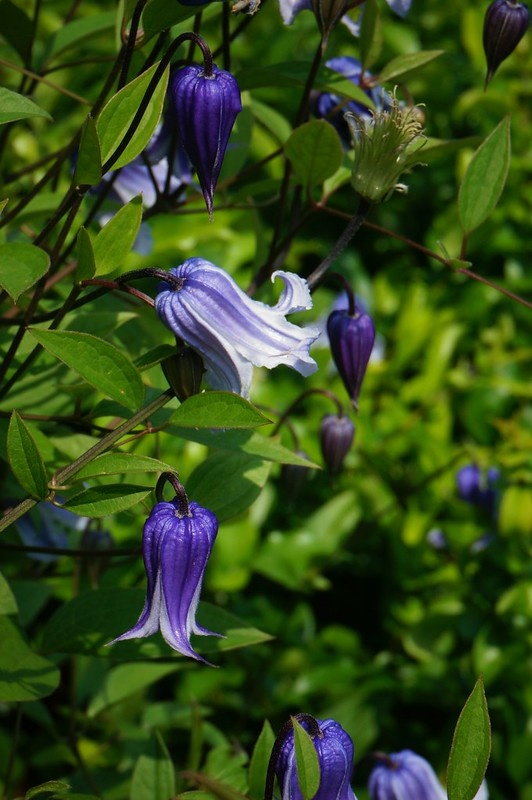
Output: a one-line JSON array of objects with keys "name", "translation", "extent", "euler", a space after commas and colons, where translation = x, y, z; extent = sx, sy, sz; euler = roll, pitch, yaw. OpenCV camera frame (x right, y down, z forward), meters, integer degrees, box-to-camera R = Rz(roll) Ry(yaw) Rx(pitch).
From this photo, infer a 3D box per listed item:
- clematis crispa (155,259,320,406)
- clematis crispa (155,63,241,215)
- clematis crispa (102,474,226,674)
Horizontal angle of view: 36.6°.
[{"name": "clematis crispa", "translation": [-0.031, -0.073, 0.784], "extent": [0.143, 0.136, 0.063], "euler": [27, -1, -17]}, {"name": "clematis crispa", "translation": [-0.055, -0.256, 0.796], "extent": [0.074, 0.145, 0.061], "euler": [2, -6, -29]}, {"name": "clematis crispa", "translation": [-0.092, 0.144, 0.722], "extent": [0.100, 0.158, 0.093], "euler": [7, 14, -3]}]
